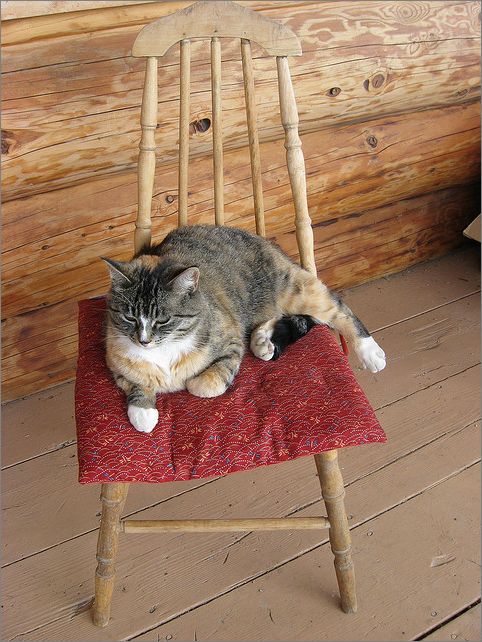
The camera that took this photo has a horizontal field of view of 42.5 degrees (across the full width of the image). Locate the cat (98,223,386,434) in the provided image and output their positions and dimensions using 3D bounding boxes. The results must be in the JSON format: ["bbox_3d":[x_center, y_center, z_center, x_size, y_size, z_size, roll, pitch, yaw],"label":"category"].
[{"bbox_3d":[-0.053,-0.013,1.100,0.410,0.195,0.433,21,40,14],"label":"cat"}]
